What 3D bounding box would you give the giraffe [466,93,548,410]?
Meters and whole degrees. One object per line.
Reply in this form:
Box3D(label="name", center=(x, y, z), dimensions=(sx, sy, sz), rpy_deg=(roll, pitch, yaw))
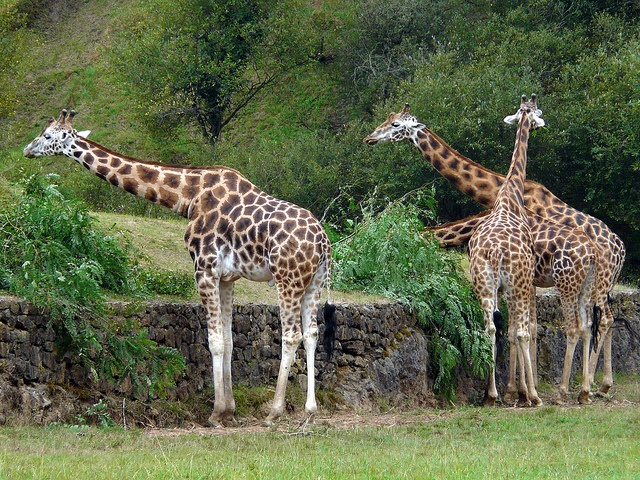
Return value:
Box3D(label="giraffe", center=(6.605, 0.185, 41.888), dimensions=(1.740, 10.220, 6.096), rpy_deg=(2, 13, 15))
